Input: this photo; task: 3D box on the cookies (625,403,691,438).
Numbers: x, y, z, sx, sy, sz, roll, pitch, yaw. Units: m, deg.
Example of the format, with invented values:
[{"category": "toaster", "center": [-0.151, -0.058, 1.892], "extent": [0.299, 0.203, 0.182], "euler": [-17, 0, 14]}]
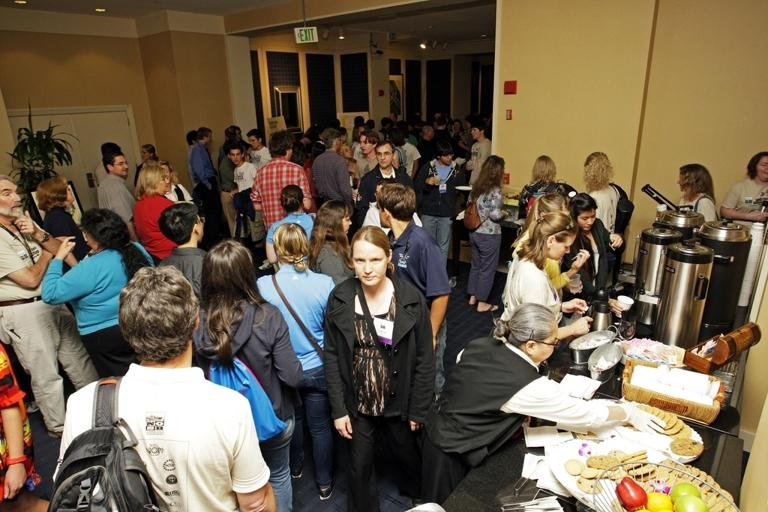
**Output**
[{"category": "cookies", "center": [1.717, 1.002, 3.023], "extent": [0.200, 0.024, 0.181], "euler": [15, 26, 17]}]

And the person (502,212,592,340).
[{"category": "person", "center": [1.269, 0.159, 3.749], "extent": [0.537, 0.908, 0.483], "euler": [-11, 48, 8]}]

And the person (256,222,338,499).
[{"category": "person", "center": [-0.625, 0.785, 3.844], "extent": [0.610, 2.108, 0.615], "euler": [0, 14, 1]}]

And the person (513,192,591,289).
[{"category": "person", "center": [1.378, -0.103, 3.985], "extent": [0.404, 0.883, 0.345], "euler": [-9, 55, 19]}]

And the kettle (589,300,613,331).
[{"category": "kettle", "center": [1.610, 0.439, 3.684], "extent": [0.149, 0.224, 0.197], "euler": [-9, 9, -36]}]

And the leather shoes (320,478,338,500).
[{"category": "leather shoes", "center": [-0.429, 1.761, 3.793], "extent": [0.058, 0.079, 0.174], "euler": [2, 12, 6]}]

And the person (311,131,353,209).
[{"category": "person", "center": [-0.683, -1.150, 6.462], "extent": [0.487, 0.953, 0.893], "euler": [-5, 16, -10]}]

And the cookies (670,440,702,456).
[{"category": "cookies", "center": [1.760, 1.115, 2.904], "extent": [0.118, 0.018, 0.099], "euler": [10, 34, 31]}]

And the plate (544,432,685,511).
[{"category": "plate", "center": [1.172, 1.184, 2.823], "extent": [0.448, 0.080, 0.375], "euler": [16, 36, 35]}]

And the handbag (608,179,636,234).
[{"category": "handbag", "center": [2.606, -0.486, 5.406], "extent": [0.190, 0.567, 0.397], "euler": [17, 34, 26]}]

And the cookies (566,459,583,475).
[{"category": "cookies", "center": [1.079, 1.190, 2.809], "extent": [0.097, 0.050, 0.075], "euler": [4, 17, 19]}]

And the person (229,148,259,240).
[{"category": "person", "center": [-2.186, -0.926, 7.711], "extent": [0.446, 1.602, 0.462], "euler": [-1, 25, -3]}]

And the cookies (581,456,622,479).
[{"category": "cookies", "center": [1.204, 1.179, 2.793], "extent": [0.142, 0.017, 0.129], "euler": [-17, 19, -14]}]
